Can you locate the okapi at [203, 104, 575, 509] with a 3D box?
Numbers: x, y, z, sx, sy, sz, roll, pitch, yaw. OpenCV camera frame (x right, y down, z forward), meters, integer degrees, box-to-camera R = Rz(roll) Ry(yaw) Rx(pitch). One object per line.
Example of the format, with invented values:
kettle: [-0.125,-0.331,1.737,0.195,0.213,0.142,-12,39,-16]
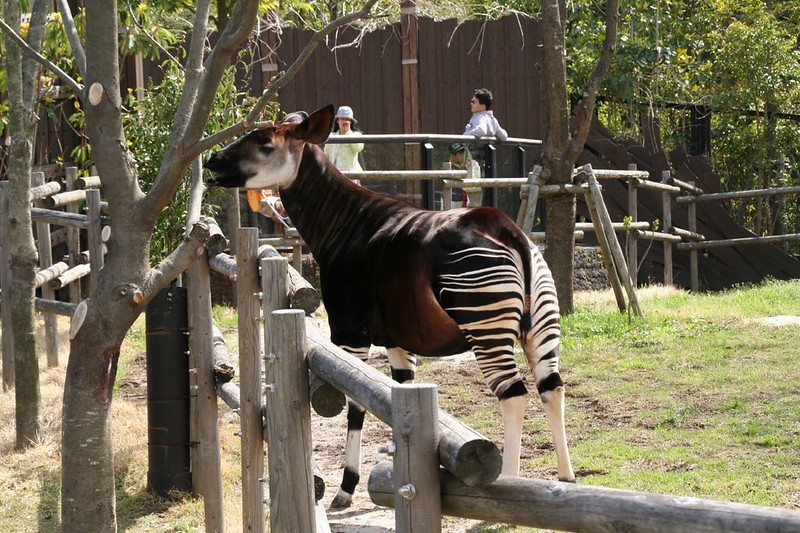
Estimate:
okapi: [-0.095,0.306,11.935,3.747,3.791,1.207,3,4,41]

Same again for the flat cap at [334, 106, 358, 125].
flat cap: [-0.783,-2.112,16.490,0.406,0.246,0.458,2,5,-22]
